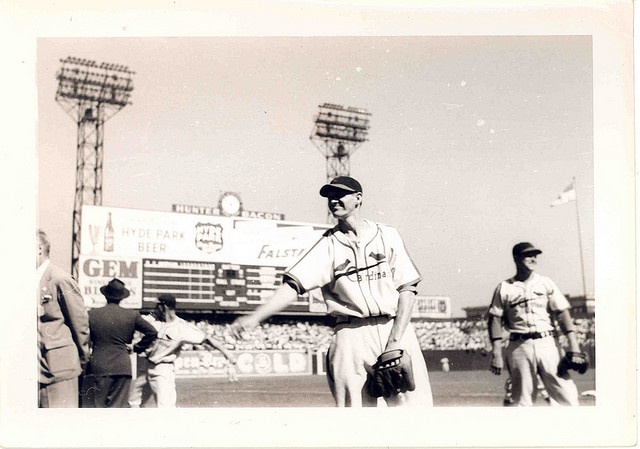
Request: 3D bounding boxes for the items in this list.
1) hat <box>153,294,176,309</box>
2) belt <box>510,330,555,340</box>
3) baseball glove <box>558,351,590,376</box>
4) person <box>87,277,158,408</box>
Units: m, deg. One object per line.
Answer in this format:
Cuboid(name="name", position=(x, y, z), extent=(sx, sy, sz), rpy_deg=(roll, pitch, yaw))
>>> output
Cuboid(name="hat", position=(-1.215, 0.600, 8.055), extent=(0.097, 0.049, 0.145), rpy_deg=(24, -5, -17))
Cuboid(name="belt", position=(1.691, 0.883, 8.116), extent=(0.348, 0.091, 0.064), rpy_deg=(0, -5, 11))
Cuboid(name="baseball glove", position=(2.018, 1.120, 8.095), extent=(0.213, 0.171, 0.171), rpy_deg=(-8, 25, 1))
Cuboid(name="person", position=(-1.648, 1.043, 8.230), extent=(0.596, 1.247, 0.395), rpy_deg=(6, 12, 2))
